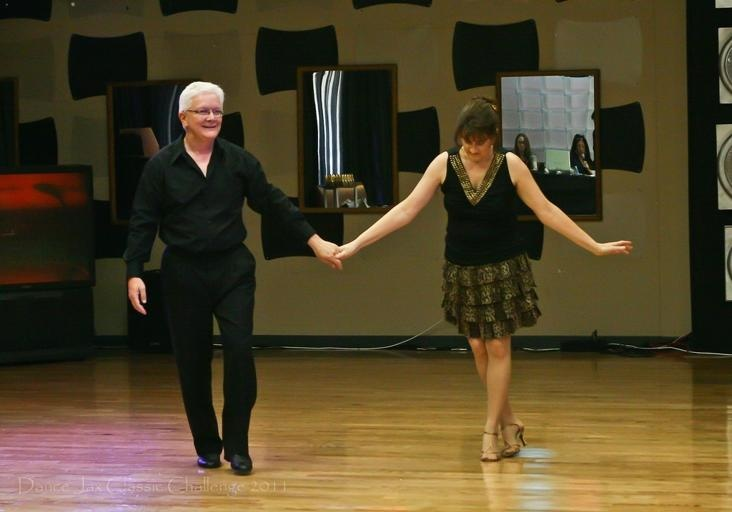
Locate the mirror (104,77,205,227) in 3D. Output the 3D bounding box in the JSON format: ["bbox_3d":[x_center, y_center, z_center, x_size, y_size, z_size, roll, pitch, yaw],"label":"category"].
[{"bbox_3d":[-2.207,-1.121,8.863,0.978,1.590,0.046,-3,-11,-28],"label":"mirror"}]

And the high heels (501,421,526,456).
[{"bbox_3d":[0.972,1.182,5.648,0.084,0.157,0.274,-16,-12,40],"label":"high heels"}]

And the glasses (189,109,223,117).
[{"bbox_3d":[-1.002,-0.900,5.264,0.207,0.040,0.075,-5,9,-29],"label":"glasses"}]

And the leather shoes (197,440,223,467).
[{"bbox_3d":[-1.004,1.272,5.411,0.108,0.202,0.173,4,-3,-36],"label":"leather shoes"}]

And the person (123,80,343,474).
[{"bbox_3d":[-0.944,0.132,5.342,1.126,2.458,0.491,-3,7,-18],"label":"person"}]
